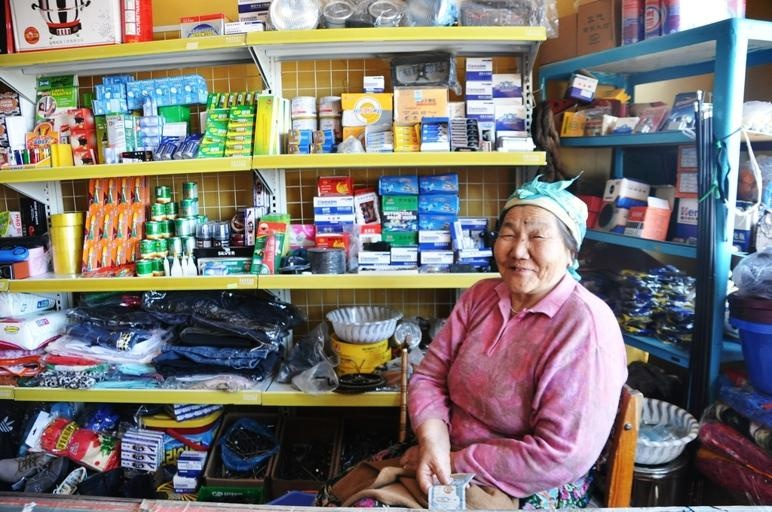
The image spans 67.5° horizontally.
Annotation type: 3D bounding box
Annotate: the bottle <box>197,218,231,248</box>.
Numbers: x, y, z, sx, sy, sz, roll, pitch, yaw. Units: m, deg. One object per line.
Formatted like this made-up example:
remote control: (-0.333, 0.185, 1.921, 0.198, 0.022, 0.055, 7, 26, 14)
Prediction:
bottle: (-1.071, -0.151, 3.613, 0.182, 0.160, 0.169, 2, 6, 6)

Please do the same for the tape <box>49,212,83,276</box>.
tape: (-2.040, -0.076, 3.670, 0.131, 0.395, 0.182, 14, 20, 34)

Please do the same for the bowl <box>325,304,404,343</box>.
bowl: (-0.132, 0.419, 3.586, 0.443, 0.152, 0.451, 0, 8, 0)
